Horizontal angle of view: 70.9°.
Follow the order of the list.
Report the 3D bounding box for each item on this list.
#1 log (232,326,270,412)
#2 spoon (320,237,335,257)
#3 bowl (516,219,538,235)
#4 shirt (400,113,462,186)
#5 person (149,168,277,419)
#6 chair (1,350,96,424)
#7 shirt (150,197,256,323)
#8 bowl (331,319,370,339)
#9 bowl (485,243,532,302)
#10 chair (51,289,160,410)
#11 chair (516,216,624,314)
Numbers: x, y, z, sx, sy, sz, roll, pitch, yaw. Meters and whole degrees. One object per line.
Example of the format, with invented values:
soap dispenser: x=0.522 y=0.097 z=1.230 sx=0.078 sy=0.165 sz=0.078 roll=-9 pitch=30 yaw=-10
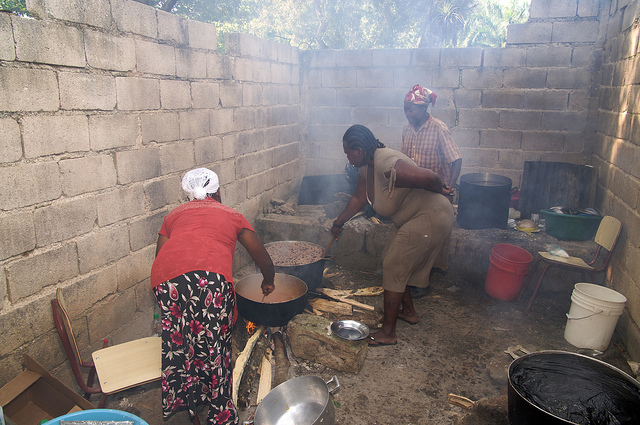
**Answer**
log: x=-0.793 y=1.559 z=4.831 sx=0.158 sy=0.095 sz=0.720 roll=26 pitch=34 yaw=-8
spoon: x=0.102 y=0.471 z=5.868 sx=0.069 sy=0.459 sz=0.072 roll=29 pitch=35 yaw=-4
bowl: x=3.101 y=0.200 z=6.719 sx=0.279 sy=0.150 sz=0.231 roll=17 pitch=23 yaw=39
shirt: x=1.664 y=-0.964 z=6.966 sx=1.078 sy=1.047 sz=0.566 roll=10 pitch=22 yaw=44
person: x=-1.081 y=0.750 z=4.244 sx=0.935 sy=2.200 sz=0.929 roll=3 pitch=19 yaw=4
chair: x=-2.601 y=1.627 z=4.108 sx=0.680 sy=0.558 sz=0.526 roll=17 pitch=24 yaw=38
shirt: x=-1.092 y=0.365 z=4.487 sx=0.911 sy=1.029 sz=1.190 roll=-1 pitch=15 yaw=-1
bowl: x=0.347 y=1.335 z=5.155 sx=0.429 sy=0.112 sz=0.393 roll=2 pitch=17 yaw=0
bowl: x=2.575 y=0.829 z=6.155 sx=0.513 sy=0.738 sz=0.363 roll=10 pitch=21 yaw=24
chair: x=-1.911 y=1.417 z=4.382 sx=0.950 sy=1.260 sz=0.811 roll=-9 pitch=17 yaw=-31
chair: x=3.287 y=0.639 z=5.920 sx=1.027 sy=1.322 sz=0.943 roll=12 pitch=14 yaw=37
